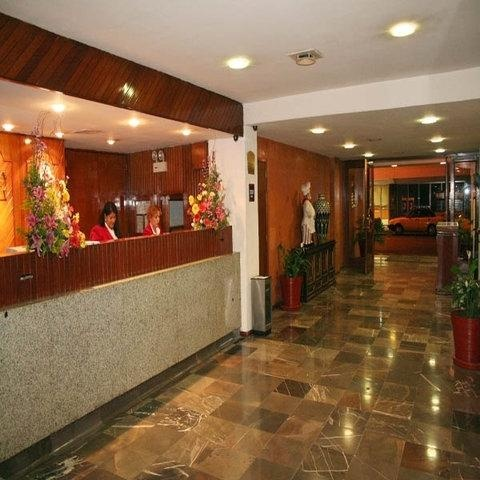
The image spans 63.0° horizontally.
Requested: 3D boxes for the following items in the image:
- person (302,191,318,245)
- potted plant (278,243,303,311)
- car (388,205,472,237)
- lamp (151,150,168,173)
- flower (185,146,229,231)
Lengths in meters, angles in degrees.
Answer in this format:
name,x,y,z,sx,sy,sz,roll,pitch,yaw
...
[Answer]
name,x,y,z,sx,sy,sz,roll,pitch,yaw
person,1.390,-0.415,7.985,0.266,0.975,0.764,0,5,11
potted plant,0.930,0.664,7.028,0.435,1.132,0.644,0,5,19
car,9.020,-1.463,19.134,3.767,1.778,1.992,4,6,28
lamp,-1.367,-1.337,6.681,0.313,0.462,0.114,2,0,36
flower,-0.420,-0.687,5.333,0.520,1.073,1.313,-1,5,-3
